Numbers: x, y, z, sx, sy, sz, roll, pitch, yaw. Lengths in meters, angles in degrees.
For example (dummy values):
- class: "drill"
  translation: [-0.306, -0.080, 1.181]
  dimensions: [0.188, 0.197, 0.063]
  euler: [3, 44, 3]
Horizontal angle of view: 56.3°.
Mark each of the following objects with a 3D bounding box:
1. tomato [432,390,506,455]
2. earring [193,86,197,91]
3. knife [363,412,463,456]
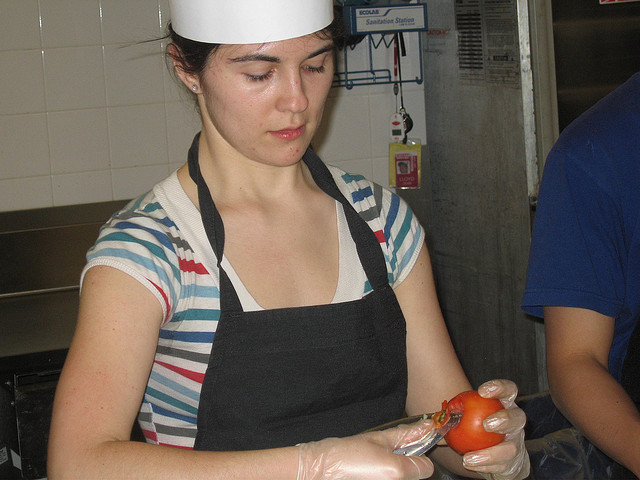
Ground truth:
- class: "tomato"
  translation: [0.276, 0.321, 1.173]
  dimensions: [0.104, 0.132, 0.157]
  euler: [-4, 7, -15]
- class: "earring"
  translation: [-0.262, -0.316, 1.248]
  dimensions: [0.007, 0.009, 0.002]
  euler: [-6, 1, -25]
- class: "knife"
  translation: [0.198, 0.362, 1.128]
  dimensions: [0.016, 0.068, 0.214]
  euler: [-2, -20, -39]
